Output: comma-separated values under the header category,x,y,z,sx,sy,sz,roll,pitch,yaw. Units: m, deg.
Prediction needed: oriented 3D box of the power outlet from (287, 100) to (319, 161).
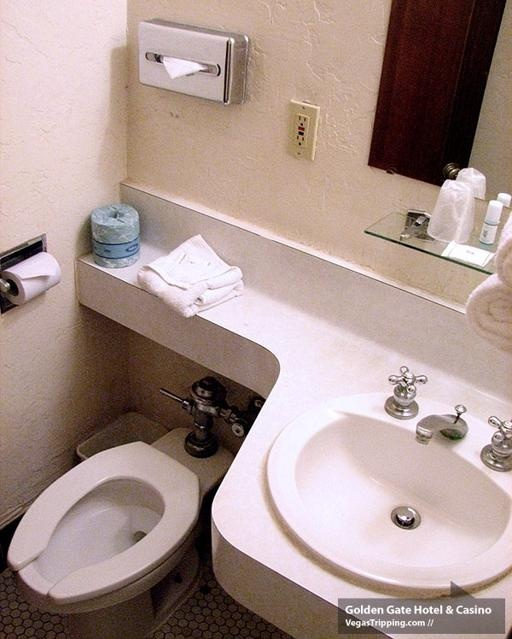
category,x,y,z,sx,sy,sz,roll,pitch,yaw
power outlet,0.098,-0.392,1.192,0.092,0.137,0.020,21,41,25

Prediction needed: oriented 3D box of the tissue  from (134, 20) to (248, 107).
category,x,y,z,sx,sy,sz,roll,pitch,yaw
tissue ,-0.128,-0.546,1.230,0.215,0.115,0.074,25,44,25

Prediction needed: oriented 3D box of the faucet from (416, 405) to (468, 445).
category,x,y,z,sx,sy,sz,roll,pitch,yaw
faucet,0.344,0.186,1.075,0.109,0.061,0.055,-17,33,-24

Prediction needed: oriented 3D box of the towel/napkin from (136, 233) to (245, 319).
category,x,y,z,sx,sy,sz,roll,pitch,yaw
towel/napkin,-0.141,-0.102,1.359,0.204,0.069,0.193,36,53,24
